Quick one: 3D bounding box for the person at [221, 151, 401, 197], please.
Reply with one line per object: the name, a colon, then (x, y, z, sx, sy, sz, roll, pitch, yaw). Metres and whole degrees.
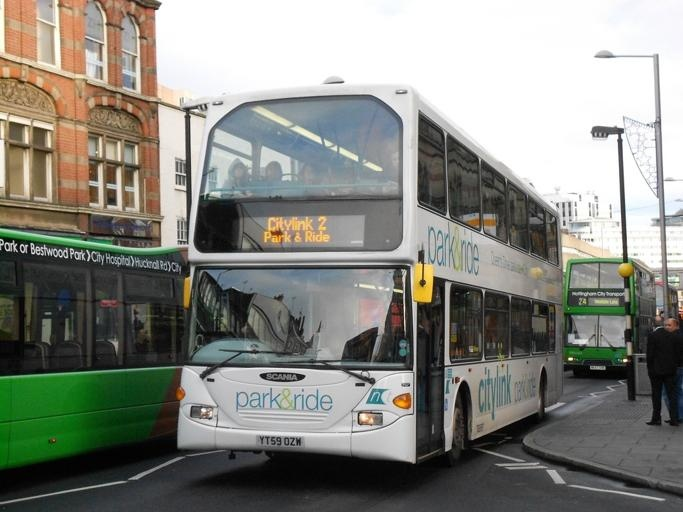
person: (-0.457, -1.128, 9.171, 2.516, 0.832, 0.278, -3, -7, 12)
